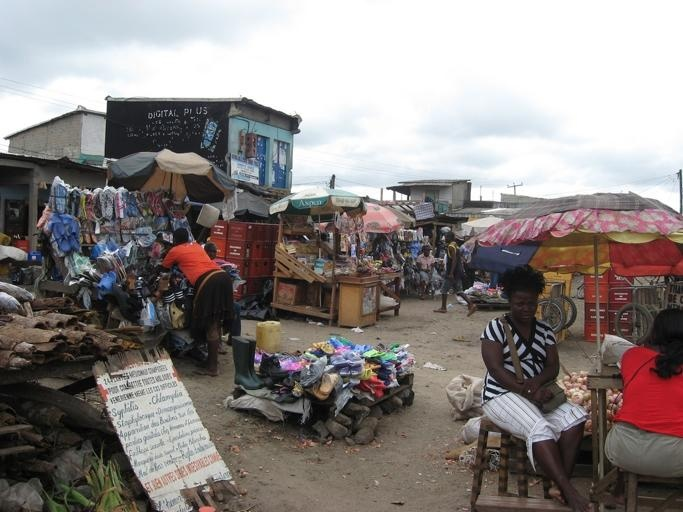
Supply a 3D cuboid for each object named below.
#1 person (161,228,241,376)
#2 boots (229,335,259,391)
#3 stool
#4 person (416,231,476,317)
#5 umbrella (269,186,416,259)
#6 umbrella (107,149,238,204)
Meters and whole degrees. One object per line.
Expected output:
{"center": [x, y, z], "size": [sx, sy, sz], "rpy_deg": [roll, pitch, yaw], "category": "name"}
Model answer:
{"center": [-2.115, 0.657, 7.786], "size": [1.225, 1.875, 0.881], "rpy_deg": [0, 0, -42], "category": "person"}
{"center": [-1.198, 1.335, 6.622], "size": [0.356, 0.636, 0.539], "rpy_deg": [2, 6, -11], "category": "boots"}
{"center": [1.464, 1.808, 4.581], "size": [0.594, 0.826, 1.348], "rpy_deg": [5, 6, 15], "category": "stool"}
{"center": [3.049, 0.433, 14.507], "size": [1.325, 2.172, 0.701], "rpy_deg": [1, 1, 26], "category": "person"}
{"center": [0.226, -0.964, 13.929], "size": [1.734, 1.457, 5.635], "rpy_deg": [5, 6, 19], "category": "umbrella"}
{"center": [-2.587, -1.256, 8.456], "size": [1.772, 0.485, 1.543], "rpy_deg": [4, -13, 3], "category": "umbrella"}
